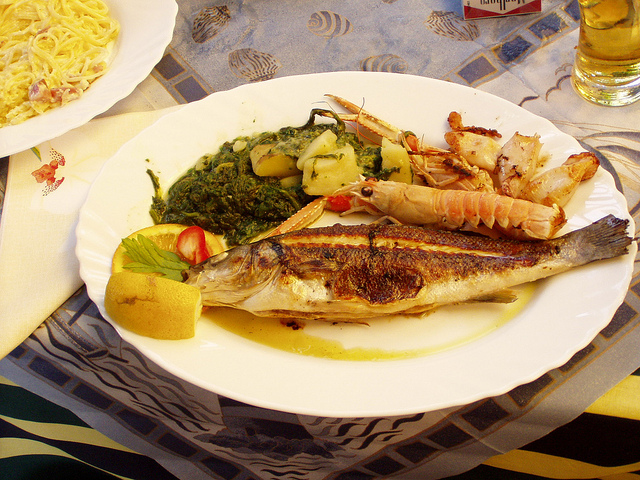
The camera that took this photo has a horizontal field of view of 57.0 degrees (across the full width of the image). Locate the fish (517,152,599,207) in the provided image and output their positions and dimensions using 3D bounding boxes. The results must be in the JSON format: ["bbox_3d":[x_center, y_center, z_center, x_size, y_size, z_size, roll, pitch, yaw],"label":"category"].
[{"bbox_3d":[1.467,-0.324,3.667,0.502,0.117,0.262,-30,68,4],"label":"fish"}]
